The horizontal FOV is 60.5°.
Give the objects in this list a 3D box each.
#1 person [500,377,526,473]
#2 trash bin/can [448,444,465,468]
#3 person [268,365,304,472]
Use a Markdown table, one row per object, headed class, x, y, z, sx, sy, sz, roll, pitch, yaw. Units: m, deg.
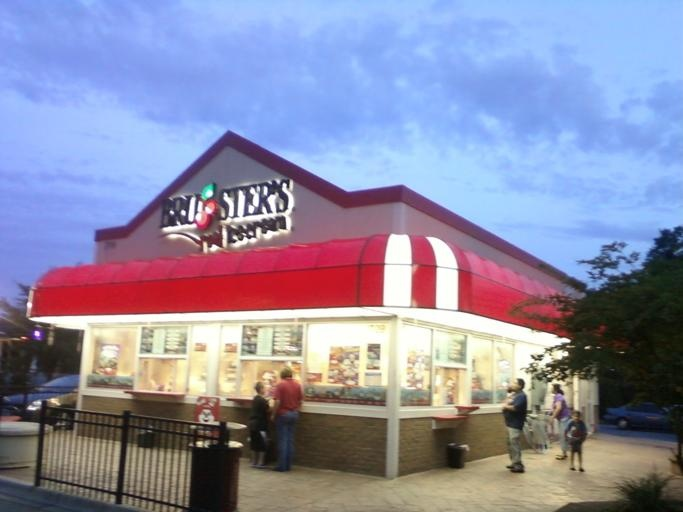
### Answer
| class | x | y | z | sx | sy | sz | roll | pitch | yaw |
| --- | --- | --- | --- | --- | --- | --- | --- | --- | --- |
| person | 4.312 | 4.129 | 14.473 | 0.558 | 2.173 | 1.423 | 2 | -11 | 17 |
| trash bin/can | 2.690 | 4.700 | 13.741 | 0.448 | 0.531 | 0.323 | 4 | -11 | 9 |
| person | -1.202 | 3.513 | 12.589 | 0.601 | 2.149 | 0.404 | 7 | -11 | -4 |
